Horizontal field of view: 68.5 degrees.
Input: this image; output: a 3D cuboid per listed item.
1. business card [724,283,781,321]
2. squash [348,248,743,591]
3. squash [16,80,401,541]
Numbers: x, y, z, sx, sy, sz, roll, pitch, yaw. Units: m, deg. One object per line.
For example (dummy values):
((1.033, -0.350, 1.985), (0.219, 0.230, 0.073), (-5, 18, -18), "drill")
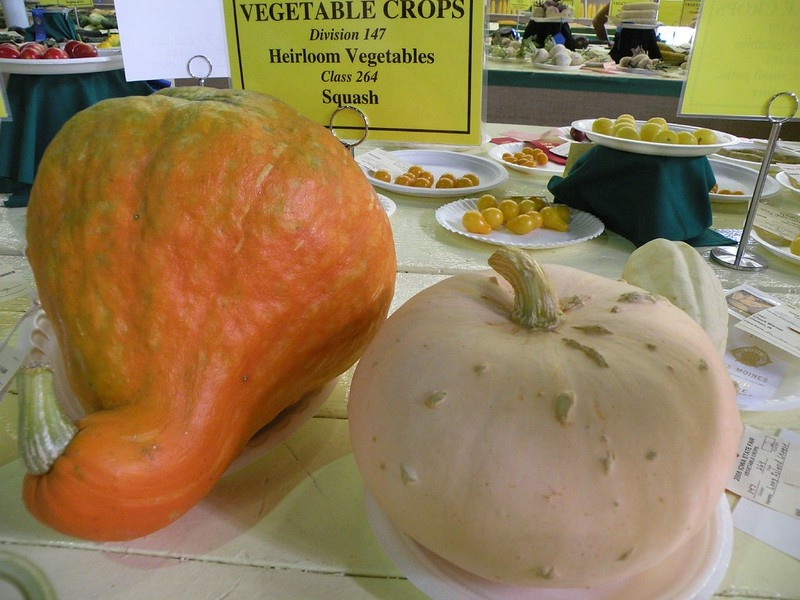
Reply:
((0.476, 0.003, 0.797), (0.054, 0.015, 0.055), (-30, 38, -29), "business card")
((0.164, 0.128, 0.571), (0.301, 0.225, 0.301), (13, 40, 32), "squash")
((-0.189, 0.013, 0.617), (0.335, 0.382, 0.274), (34, 16, 8), "squash")
